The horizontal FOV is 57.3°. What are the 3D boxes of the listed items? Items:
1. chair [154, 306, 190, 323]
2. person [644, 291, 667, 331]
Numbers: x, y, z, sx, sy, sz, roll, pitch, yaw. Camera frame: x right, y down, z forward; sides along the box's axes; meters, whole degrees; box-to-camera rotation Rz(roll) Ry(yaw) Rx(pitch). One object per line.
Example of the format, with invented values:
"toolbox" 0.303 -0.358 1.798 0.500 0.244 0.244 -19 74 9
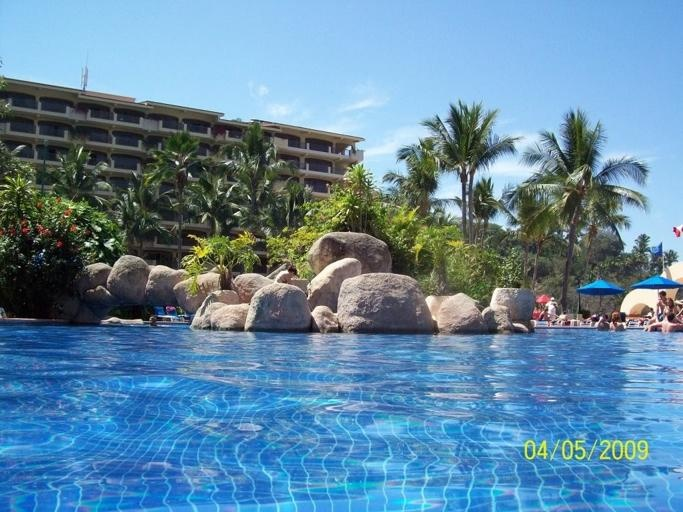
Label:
"chair" -4.998 1.728 18.050 0.656 0.387 0.848 4 -7 -37
"person" 10.814 1.758 21.308 0.400 1.310 0.683 3 -29 14
